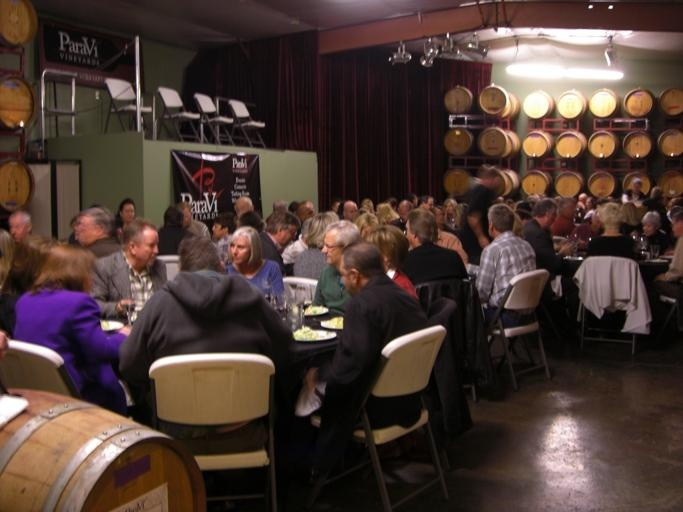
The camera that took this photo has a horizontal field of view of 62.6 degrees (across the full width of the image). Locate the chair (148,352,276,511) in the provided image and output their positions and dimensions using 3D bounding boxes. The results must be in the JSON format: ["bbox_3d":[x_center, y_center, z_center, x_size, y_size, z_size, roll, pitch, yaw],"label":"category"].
[{"bbox_3d":[-0.547,0.680,2.535,0.446,0.892,0.592,-1,28,-6],"label":"chair"}]

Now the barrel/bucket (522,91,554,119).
[{"bbox_3d":[4.357,-3.365,12.452,0.551,0.648,0.557,-9,-2,0],"label":"barrel/bucket"}]

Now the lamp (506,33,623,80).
[{"bbox_3d":[4.655,-3.939,11.565,2.014,0.660,2.700,4,9,26],"label":"lamp"}]

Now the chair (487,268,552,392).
[{"bbox_3d":[1.642,0.560,5.055,0.509,1.049,1.273,3,9,21],"label":"chair"}]

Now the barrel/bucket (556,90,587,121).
[{"bbox_3d":[4.985,-3.257,12.174,0.547,0.627,0.548,4,3,0],"label":"barrel/bucket"}]

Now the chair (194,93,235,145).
[{"bbox_3d":[-2.388,-2.569,10.419,0.590,0.999,1.930,-2,9,-13],"label":"chair"}]

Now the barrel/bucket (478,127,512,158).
[{"bbox_3d":[3.324,-2.479,12.128,0.707,0.651,0.267,2,8,16],"label":"barrel/bucket"}]

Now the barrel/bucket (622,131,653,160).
[{"bbox_3d":[6.391,-2.437,12.109,0.520,0.596,0.516,-16,1,0],"label":"barrel/bucket"}]

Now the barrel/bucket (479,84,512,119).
[{"bbox_3d":[3.353,-3.332,12.249,0.546,0.709,0.843,12,12,23],"label":"barrel/bucket"}]

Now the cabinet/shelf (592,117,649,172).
[{"bbox_3d":[6.376,-2.461,12.735,1.083,1.646,0.995,2,4,32],"label":"cabinet/shelf"}]

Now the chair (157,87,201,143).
[{"bbox_3d":[-3.007,-2.659,10.509,0.683,1.020,2.549,-2,9,-15],"label":"chair"}]

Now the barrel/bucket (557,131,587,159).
[{"bbox_3d":[5.038,-2.474,12.337,0.621,0.620,0.360,4,9,24],"label":"barrel/bucket"}]

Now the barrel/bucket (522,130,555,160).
[{"bbox_3d":[4.401,-2.475,12.620,0.547,0.645,0.599,11,11,-2],"label":"barrel/bucket"}]

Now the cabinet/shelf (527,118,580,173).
[{"bbox_3d":[4.740,-2.498,12.511,1.040,1.203,0.585,1,5,12],"label":"cabinet/shelf"}]

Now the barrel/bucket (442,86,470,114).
[{"bbox_3d":[2.553,-3.410,12.277,0.518,0.613,0.554,-13,8,2],"label":"barrel/bucket"}]

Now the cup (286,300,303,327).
[{"bbox_3d":[-0.250,0.324,3.193,0.103,0.203,0.117,-1,2,6],"label":"cup"}]

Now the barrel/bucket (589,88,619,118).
[{"bbox_3d":[5.652,-3.256,12.294,0.510,0.608,0.751,-18,-6,31],"label":"barrel/bucket"}]

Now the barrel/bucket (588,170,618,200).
[{"bbox_3d":[5.647,-1.533,12.064,0.540,0.602,0.534,-22,-3,-1],"label":"barrel/bucket"}]

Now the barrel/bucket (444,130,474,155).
[{"bbox_3d":[2.660,-2.617,12.602,0.512,0.606,0.531,-4,11,1],"label":"barrel/bucket"}]

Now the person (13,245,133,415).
[{"bbox_3d":[-1.307,0.449,2.769,0.417,1.002,0.508,-3,-2,30],"label":"person"}]

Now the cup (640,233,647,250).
[{"bbox_3d":[3.470,-0.158,6.434,0.081,0.137,0.165,4,9,28],"label":"cup"}]

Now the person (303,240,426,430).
[{"bbox_3d":[0.094,0.385,2.846,0.634,0.880,0.381,2,8,17],"label":"person"}]

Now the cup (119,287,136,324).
[{"bbox_3d":[-1.227,0.289,3.218,0.052,0.171,0.112,4,15,-2],"label":"cup"}]

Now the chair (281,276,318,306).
[{"bbox_3d":[-0.295,0.246,4.068,0.174,0.149,0.179,1,1,41],"label":"chair"}]

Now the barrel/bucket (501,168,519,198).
[{"bbox_3d":[3.604,-1.598,12.080,0.301,0.561,0.960,4,9,29],"label":"barrel/bucket"}]

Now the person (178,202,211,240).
[{"bbox_3d":[-1.853,-0.464,7.024,0.222,0.318,0.734,17,5,12],"label":"person"}]

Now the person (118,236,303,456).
[{"bbox_3d":[-0.654,0.400,2.739,0.727,1.010,0.608,-2,4,-19],"label":"person"}]
